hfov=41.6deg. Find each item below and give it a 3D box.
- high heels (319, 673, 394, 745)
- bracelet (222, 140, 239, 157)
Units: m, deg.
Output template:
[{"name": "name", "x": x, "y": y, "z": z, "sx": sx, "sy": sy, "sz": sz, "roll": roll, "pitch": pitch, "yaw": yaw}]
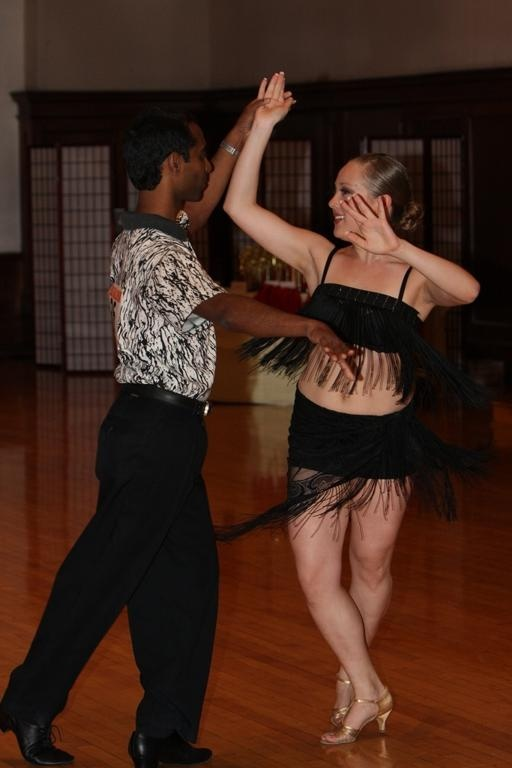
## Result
[{"name": "high heels", "x": 0.262, "y": 0.763, "z": 1.633, "sx": 0.266, "sy": 0.131, "sz": 0.086, "roll": 4, "pitch": -2, "yaw": -45}, {"name": "bracelet", "x": -0.067, "y": -0.596, "z": 1.721, "sx": 0.035, "sy": 0.010, "sz": 0.036, "roll": 33, "pitch": 9, "yaw": -39}]
